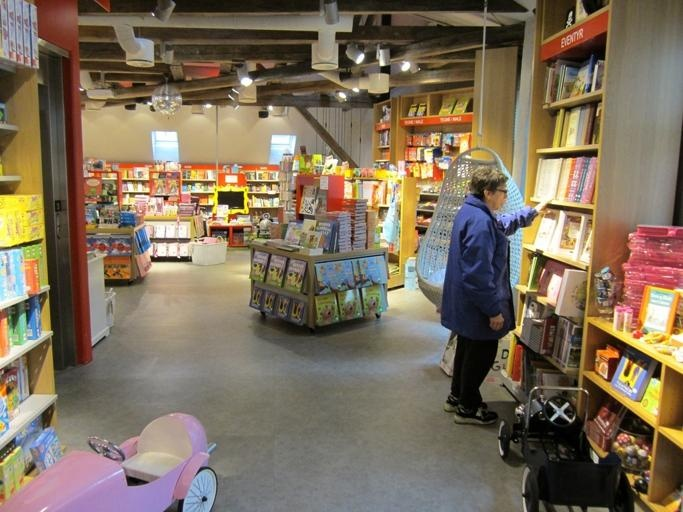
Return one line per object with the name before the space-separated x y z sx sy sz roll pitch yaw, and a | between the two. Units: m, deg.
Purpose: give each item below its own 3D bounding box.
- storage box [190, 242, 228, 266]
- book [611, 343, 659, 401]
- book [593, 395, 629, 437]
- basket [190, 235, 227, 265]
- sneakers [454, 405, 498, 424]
storage box | -2.926 -0.049 10.764 0.679 0.405 0.485 1 0 -42
book | 1.968 0.795 3.334 0.268 0.289 0.285 23 3 -8
book | 1.961 1.172 3.530 0.079 0.293 0.316 27 -21 -27
basket | -2.998 -0.097 10.816 0.553 0.536 0.769 3 2 44
sneakers | 1.139 1.336 4.196 0.358 0.162 0.159 -1 3 -10
